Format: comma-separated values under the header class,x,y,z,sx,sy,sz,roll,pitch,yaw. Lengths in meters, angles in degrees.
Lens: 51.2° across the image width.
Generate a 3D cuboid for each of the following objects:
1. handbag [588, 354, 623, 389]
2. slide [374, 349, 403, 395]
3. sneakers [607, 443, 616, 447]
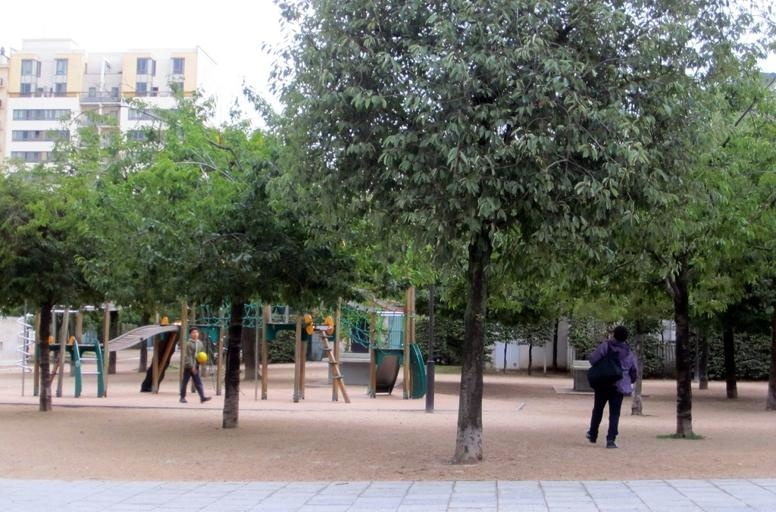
class,x,y,z,sx,sy,sz,roll,pitch,yaw
handbag,4.801,2.499,17.666,0.278,0.621,0.630,17,-18,-30
slide,0.056,4.320,30.254,0.998,1.676,2.645,1,-6,0
sneakers,4.835,4.056,17.388,0.209,0.096,0.136,-1,-6,11
